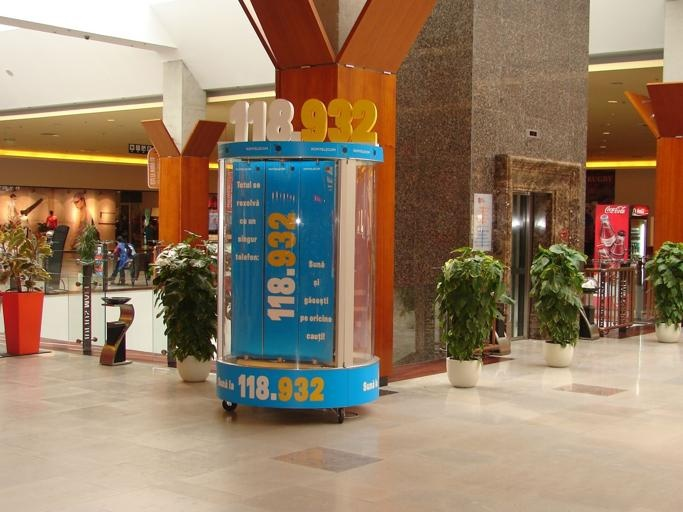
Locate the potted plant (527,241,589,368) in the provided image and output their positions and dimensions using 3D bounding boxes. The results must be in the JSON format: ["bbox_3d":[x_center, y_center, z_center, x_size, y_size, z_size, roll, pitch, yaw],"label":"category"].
[{"bbox_3d":[3.131,0.711,8.427,0.755,1.755,0.576,1,0,15],"label":"potted plant"}]

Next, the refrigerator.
[{"bbox_3d":[6.644,0.167,13.783,0.927,2.953,2.909,3,4,27],"label":"refrigerator"}]

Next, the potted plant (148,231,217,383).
[{"bbox_3d":[-1.895,0.630,7.041,0.741,1.375,0.499,1,0,-8],"label":"potted plant"}]

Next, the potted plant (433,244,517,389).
[{"bbox_3d":[1.662,0.747,7.312,0.880,1.685,1.187,1,0,16],"label":"potted plant"}]
